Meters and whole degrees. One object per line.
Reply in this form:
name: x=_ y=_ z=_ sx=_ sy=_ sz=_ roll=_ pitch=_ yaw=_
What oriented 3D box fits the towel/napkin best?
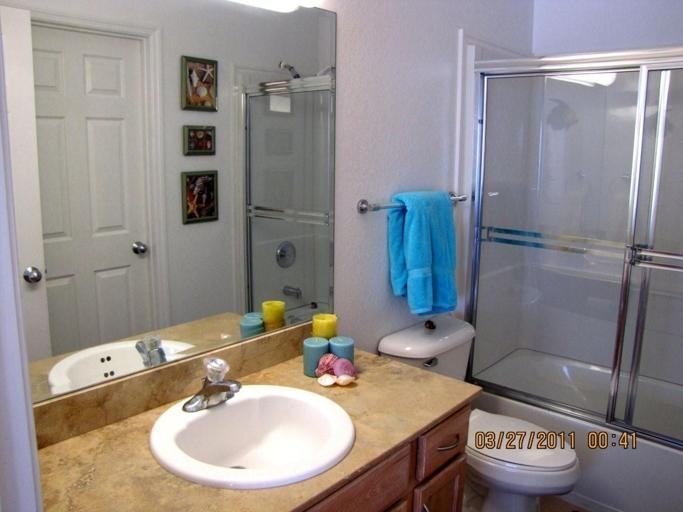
towel/napkin: x=0.389 y=-0.016 z=2.268 sx=0.218 sy=0.566 sz=0.358 roll=8 pitch=18 yaw=41

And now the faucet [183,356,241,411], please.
faucet: x=-0.389 y=0.396 z=1.522 sx=0.122 sy=0.168 sz=0.244 roll=5 pitch=-3 yaw=-42

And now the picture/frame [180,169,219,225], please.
picture/frame: x=-0.443 y=-0.189 z=1.548 sx=0.012 sy=0.184 sz=0.149 roll=8 pitch=12 yaw=42

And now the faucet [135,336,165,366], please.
faucet: x=-0.575 y=0.287 z=1.496 sx=0.056 sy=0.113 sz=0.061 roll=10 pitch=21 yaw=41
